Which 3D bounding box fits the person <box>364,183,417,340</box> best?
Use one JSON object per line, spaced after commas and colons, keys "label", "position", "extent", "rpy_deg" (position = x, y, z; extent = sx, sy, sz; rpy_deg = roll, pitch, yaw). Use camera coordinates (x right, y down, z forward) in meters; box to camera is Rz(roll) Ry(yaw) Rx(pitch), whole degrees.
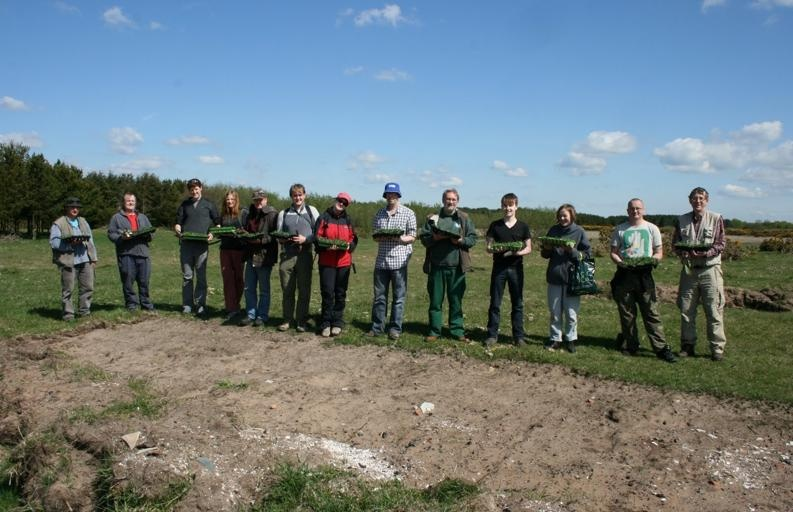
{"label": "person", "position": [-0.135, 0.149, 13.427], "extent": [0.987, 3.619, 0.907], "rpy_deg": [-2, 3, -29]}

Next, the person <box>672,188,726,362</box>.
{"label": "person", "position": [6.748, 0.408, 12.542], "extent": [1.064, 3.762, 0.784], "rpy_deg": [0, 3, 14]}

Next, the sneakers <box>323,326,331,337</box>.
{"label": "sneakers", "position": [-1.672, 1.818, 13.392], "extent": [0.214, 0.200, 0.161], "rpy_deg": [-1, 3, -13]}

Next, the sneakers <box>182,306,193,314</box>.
{"label": "sneakers", "position": [-5.541, 1.434, 14.941], "extent": [0.151, 0.185, 0.267], "rpy_deg": [6, -14, -37]}

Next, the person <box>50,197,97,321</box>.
{"label": "person", "position": [-8.132, 0.094, 14.180], "extent": [0.957, 3.077, 0.763], "rpy_deg": [-2, 3, -31]}

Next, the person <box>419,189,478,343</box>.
{"label": "person", "position": [1.185, 0.247, 13.180], "extent": [1.187, 3.517, 0.702], "rpy_deg": [0, 3, 2]}

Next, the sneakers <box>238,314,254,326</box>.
{"label": "sneakers", "position": [-3.753, 1.649, 14.176], "extent": [0.185, 0.180, 0.402], "rpy_deg": [-2, -15, 3]}

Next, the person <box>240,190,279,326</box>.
{"label": "person", "position": [-3.409, 0.064, 13.990], "extent": [0.841, 3.334, 1.232], "rpy_deg": [-1, 3, -18]}

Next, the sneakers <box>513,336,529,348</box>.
{"label": "sneakers", "position": [2.841, 2.006, 13.132], "extent": [0.153, 0.161, 0.351], "rpy_deg": [-3, -4, -34]}

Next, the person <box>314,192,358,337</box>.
{"label": "person", "position": [-1.473, 0.234, 13.498], "extent": [1.004, 3.356, 1.296], "rpy_deg": [0, 3, -4]}

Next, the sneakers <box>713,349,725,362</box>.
{"label": "sneakers", "position": [7.072, 2.194, 12.385], "extent": [0.182, 0.247, 0.135], "rpy_deg": [13, -40, -6]}

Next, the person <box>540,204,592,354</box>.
{"label": "person", "position": [3.869, 0.502, 12.923], "extent": [1.027, 3.292, 0.982], "rpy_deg": [1, 3, 18]}

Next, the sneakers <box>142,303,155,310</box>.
{"label": "sneakers", "position": [-6.626, 1.371, 15.044], "extent": [0.188, 0.113, 0.215], "rpy_deg": [-12, -10, 7]}

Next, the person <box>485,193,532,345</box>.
{"label": "person", "position": [2.555, 0.339, 13.066], "extent": [1.045, 3.472, 0.995], "rpy_deg": [-1, 3, -6]}

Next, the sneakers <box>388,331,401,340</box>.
{"label": "sneakers", "position": [-0.038, 1.880, 13.348], "extent": [0.302, 0.218, 0.272], "rpy_deg": [-1, 3, -12]}

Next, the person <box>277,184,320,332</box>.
{"label": "person", "position": [-2.418, 0.080, 13.664], "extent": [0.967, 3.528, 1.009], "rpy_deg": [-1, 3, -13]}

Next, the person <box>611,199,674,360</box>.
{"label": "person", "position": [5.465, 0.527, 12.661], "extent": [1.214, 3.537, 0.734], "rpy_deg": [1, 3, 21]}

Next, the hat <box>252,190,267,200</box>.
{"label": "hat", "position": [-3.374, -1.481, 13.807], "extent": [0.286, 0.230, 0.547], "rpy_deg": [-1, 3, -15]}

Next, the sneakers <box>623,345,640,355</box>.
{"label": "sneakers", "position": [5.295, 2.137, 12.857], "extent": [0.383, 0.264, 0.211], "rpy_deg": [-4, 6, -1]}
